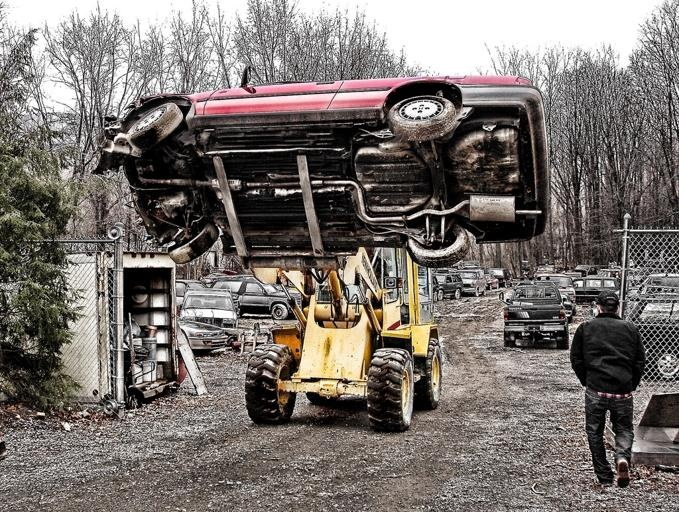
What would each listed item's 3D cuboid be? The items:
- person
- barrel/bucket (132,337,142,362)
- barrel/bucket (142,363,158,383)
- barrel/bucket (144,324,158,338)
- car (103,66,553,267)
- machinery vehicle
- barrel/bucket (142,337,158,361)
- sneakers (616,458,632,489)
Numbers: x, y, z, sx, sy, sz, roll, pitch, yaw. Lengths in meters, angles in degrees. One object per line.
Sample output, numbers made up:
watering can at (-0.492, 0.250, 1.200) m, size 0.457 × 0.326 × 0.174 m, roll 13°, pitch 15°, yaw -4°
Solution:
person at (3.672, 1.849, 10.119) m, size 0.911 × 2.610 × 1.052 m, roll 2°, pitch 5°, yaw 26°
barrel/bucket at (-4.127, 1.904, 14.992) m, size 0.135 × 0.452 × 0.346 m, roll 1°, pitch 4°, yaw 8°
barrel/bucket at (-3.973, 2.408, 15.405) m, size 0.333 × 0.365 × 0.342 m, roll 0°, pitch -5°, yaw 0°
barrel/bucket at (-4.003, 1.600, 15.633) m, size 0.271 × 0.231 × 0.409 m, roll -1°, pitch 4°, yaw -14°
car at (0.028, -1.489, 10.549) m, size 5.464 × 2.854 × 1.664 m, roll -3°, pitch 19°, yaw 15°
machinery vehicle at (0.160, 1.264, 14.264) m, size 3.054 × 3.625 × 5.734 m, roll 0°, pitch -4°, yaw 20°
barrel/bucket at (-3.946, 1.930, 15.381) m, size 0.392 × 0.664 × 0.401 m, roll -1°, pitch -5°, yaw 0°
sneakers at (3.746, 2.878, 9.700) m, size 0.146 × 0.421 × 0.175 m, roll 0°, pitch 12°, yaw 15°
